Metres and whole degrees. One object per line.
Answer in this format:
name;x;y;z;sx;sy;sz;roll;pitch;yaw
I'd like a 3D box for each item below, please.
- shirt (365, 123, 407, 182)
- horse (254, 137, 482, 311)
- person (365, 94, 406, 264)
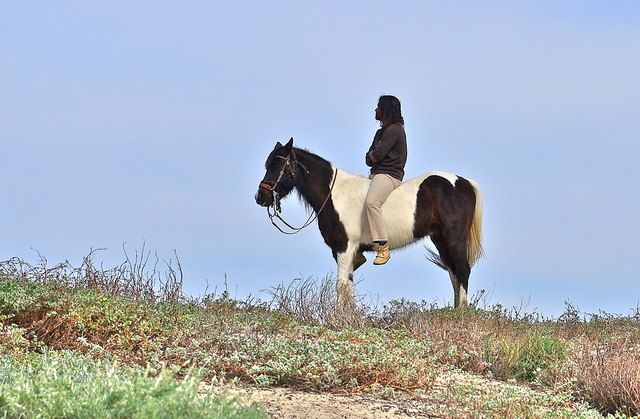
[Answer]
shirt;1.398;-1.070;15.977;0.619;1.176;0.852;10;3;12
horse;1.144;0.498;15.894;4.306;3.105;1.118;10;-15;-18
person;1.224;-0.564;15.629;0.705;3.120;0.523;4;-14;3
